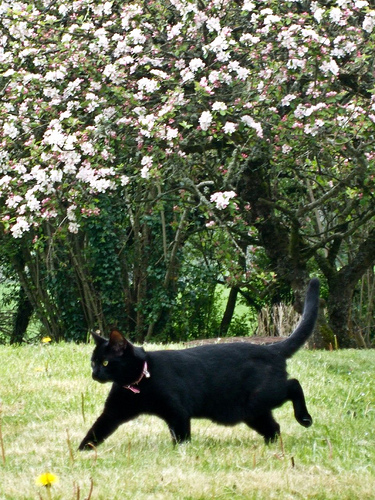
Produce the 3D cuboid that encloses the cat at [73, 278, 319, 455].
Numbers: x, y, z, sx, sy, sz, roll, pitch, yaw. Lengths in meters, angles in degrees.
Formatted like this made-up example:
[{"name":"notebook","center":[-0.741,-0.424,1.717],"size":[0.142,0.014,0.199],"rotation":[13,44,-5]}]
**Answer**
[{"name":"cat","center":[0.143,0.825,5.304],"size":[1.712,0.960,0.509],"rotation":[-1,-4,-18]}]
